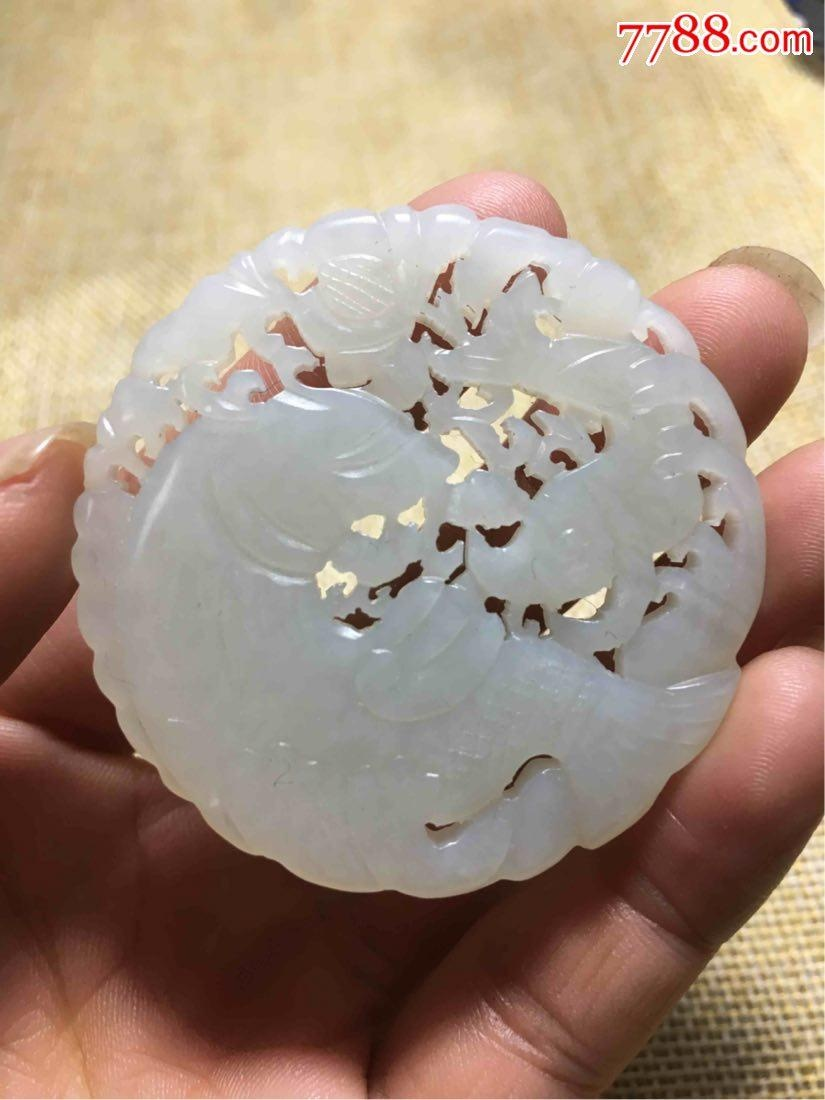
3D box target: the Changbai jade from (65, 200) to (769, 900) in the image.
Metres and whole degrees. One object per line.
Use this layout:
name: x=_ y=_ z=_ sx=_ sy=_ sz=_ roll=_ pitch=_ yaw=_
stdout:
Changbai jade: x=0.013 y=0.008 z=1.258 sx=0.747 sy=0.169 sz=0.679 roll=-36 pitch=93 yaw=-3
